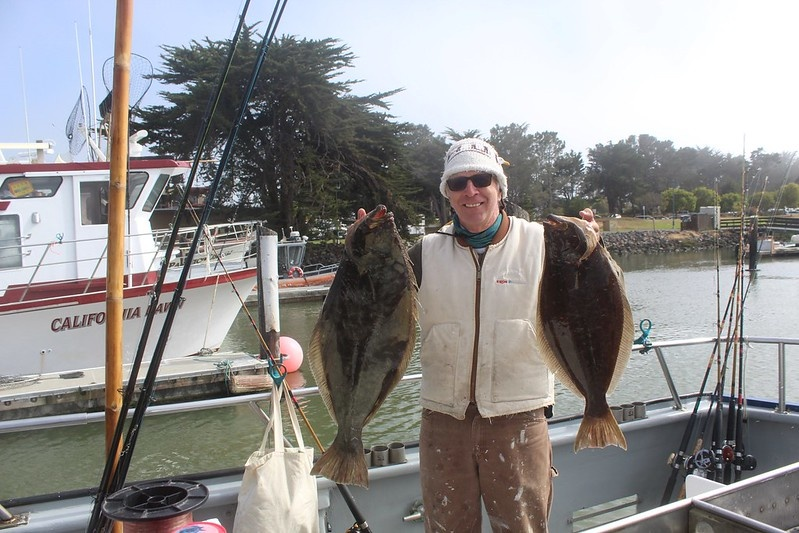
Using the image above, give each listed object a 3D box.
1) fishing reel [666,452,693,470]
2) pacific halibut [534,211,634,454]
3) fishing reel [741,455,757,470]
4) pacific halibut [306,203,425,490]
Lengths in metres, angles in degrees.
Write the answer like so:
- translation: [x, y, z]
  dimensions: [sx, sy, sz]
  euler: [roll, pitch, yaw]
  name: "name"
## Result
- translation: [2.907, 2.016, 6.962]
  dimensions: [0.224, 0.094, 0.145]
  euler: [6, -2, -20]
  name: "fishing reel"
- translation: [1.432, 0.502, 5.187]
  dimensions: [0.711, 1.729, 0.273]
  euler: [1, 4, 14]
  name: "pacific halibut"
- translation: [3.598, 2.015, 6.901]
  dimensions: [0.154, 0.155, 0.125]
  euler: [7, -3, 28]
  name: "fishing reel"
- translation: [-0.278, 0.608, 5.145]
  dimensions: [0.800, 2.079, 0.255]
  euler: [-1, 4, -8]
  name: "pacific halibut"
